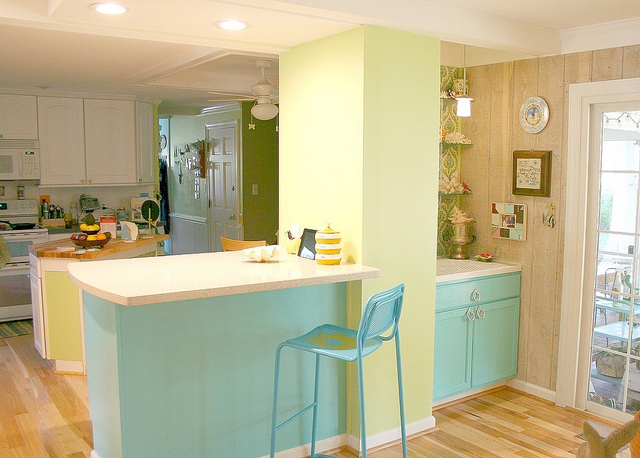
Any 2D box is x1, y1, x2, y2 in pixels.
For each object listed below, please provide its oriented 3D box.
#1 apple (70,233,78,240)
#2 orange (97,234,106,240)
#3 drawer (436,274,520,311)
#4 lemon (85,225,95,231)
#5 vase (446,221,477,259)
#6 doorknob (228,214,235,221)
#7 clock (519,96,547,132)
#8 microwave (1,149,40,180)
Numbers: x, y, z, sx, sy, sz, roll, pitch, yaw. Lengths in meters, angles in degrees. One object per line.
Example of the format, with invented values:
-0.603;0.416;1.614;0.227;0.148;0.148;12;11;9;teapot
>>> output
-2.647;0.076;5.105;0.063;0.075;0.061;-6;14;-43;apple
-2.179;0.077;4.736;0.053;0.056;0.064;0;-3;20;orange
1.380;0.541;4.119;0.425;0.100;0.392;-3;2;-24;drawer
-2.281;-0.013;4.734;0.046;0.036;0.057;6;10;3;lemon
1.387;0.095;4.650;0.310;0.322;0.209;7;12;39;vase
-1.400;-0.186;7.535;0.051;0.051;0.112;9;-7;-33;doorknob
1.909;-1.029;4.240;0.043;0.335;0.285;-6;-7;-37;clock
-3.861;-0.847;6.147;0.559;0.413;0.346;-2;7;-35;microwave
